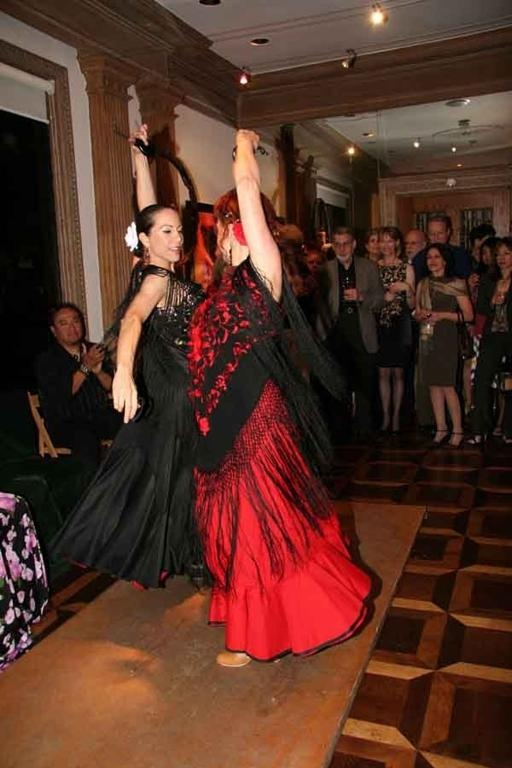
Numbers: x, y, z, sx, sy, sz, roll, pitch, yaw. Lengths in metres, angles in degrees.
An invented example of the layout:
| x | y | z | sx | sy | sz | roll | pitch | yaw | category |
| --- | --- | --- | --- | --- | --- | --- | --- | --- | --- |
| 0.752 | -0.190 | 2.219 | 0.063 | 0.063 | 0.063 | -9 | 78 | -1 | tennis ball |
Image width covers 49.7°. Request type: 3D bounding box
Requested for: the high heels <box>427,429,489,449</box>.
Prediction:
| x | y | z | sx | sy | sz | roll | pitch | yaw | category |
| --- | --- | --- | --- | --- | --- | --- | --- | --- | --- |
| 1.582 | 0.424 | 4.308 | 0.394 | 0.093 | 0.143 | 0 | 2 | -3 | high heels |
